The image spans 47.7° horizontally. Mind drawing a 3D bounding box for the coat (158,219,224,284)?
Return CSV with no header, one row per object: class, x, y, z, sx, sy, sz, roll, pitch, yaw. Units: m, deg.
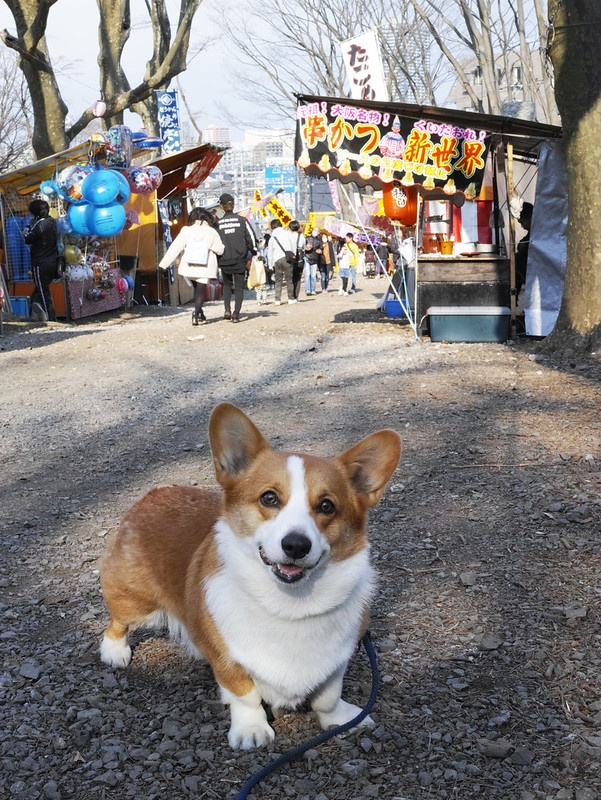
coat,-1.756,-2.509,11.543,1.162,0.993,0.406,4,12,-3
